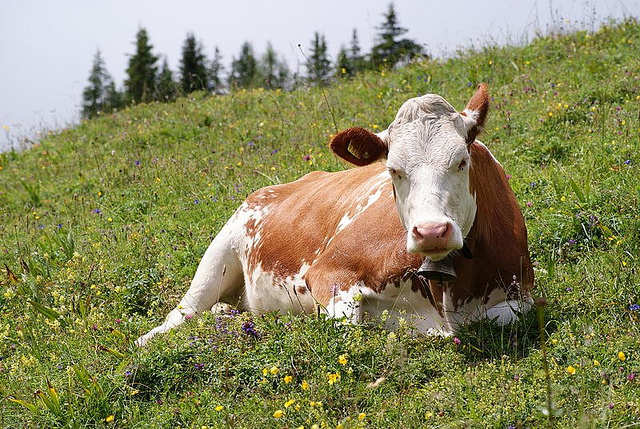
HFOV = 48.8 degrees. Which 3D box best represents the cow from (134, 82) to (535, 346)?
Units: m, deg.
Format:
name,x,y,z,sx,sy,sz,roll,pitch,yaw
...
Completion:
name,x,y,z,sx,sy,sz,roll,pitch,yaw
cow,0.247,0.291,8.340,2.596,2.089,4.044,0,-6,-28
